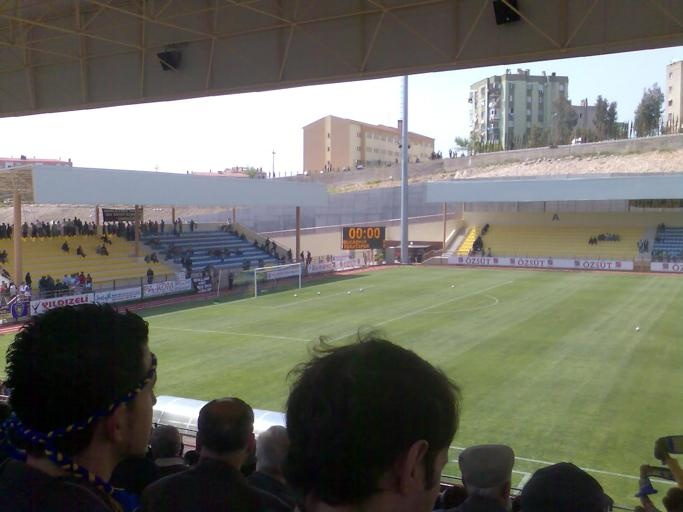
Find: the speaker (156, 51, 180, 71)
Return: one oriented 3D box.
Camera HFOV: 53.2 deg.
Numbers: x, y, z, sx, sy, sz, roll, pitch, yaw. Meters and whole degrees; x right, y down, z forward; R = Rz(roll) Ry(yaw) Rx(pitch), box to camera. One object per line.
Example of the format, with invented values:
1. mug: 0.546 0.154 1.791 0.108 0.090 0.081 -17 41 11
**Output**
1. speaker: -2.638 -3.038 10.529 0.328 0.238 0.334 15 23 35
